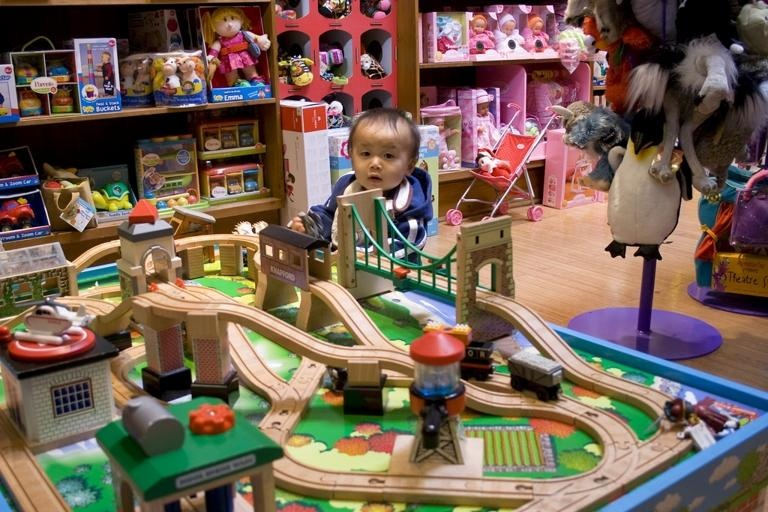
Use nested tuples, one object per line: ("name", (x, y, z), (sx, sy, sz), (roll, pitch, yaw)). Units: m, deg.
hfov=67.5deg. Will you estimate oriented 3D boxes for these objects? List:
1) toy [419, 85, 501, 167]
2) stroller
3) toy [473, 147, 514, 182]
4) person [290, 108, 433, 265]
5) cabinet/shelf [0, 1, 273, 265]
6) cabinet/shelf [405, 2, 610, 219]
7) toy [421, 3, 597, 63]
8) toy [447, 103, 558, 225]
("toy", (0.611, -1.025, 4.635), (0.630, 0.616, 0.367), (-7, 25, -14))
("stroller", (0.989, -0.709, 4.704), (1.110, 0.983, 0.654), (-19, 27, -38))
("toy", (0.858, -0.718, 4.461), (0.281, 0.198, 0.294), (4, 19, 15))
("person", (-0.184, -0.510, 3.447), (0.827, 1.069, 0.835), (9, 21, 24))
("cabinet/shelf", (-1.571, -0.781, 3.479), (1.426, 1.324, 0.429), (-14, 14, -29))
("cabinet/shelf", (0.882, -1.074, 4.325), (1.690, 1.636, 0.548), (-15, 21, -38))
("toy", (0.909, -1.805, 4.667), (1.402, 0.440, 0.343), (-13, 21, -33))
("toy", (0.968, -0.735, 4.721), (1.142, 1.016, 0.627), (-18, 26, -38))
